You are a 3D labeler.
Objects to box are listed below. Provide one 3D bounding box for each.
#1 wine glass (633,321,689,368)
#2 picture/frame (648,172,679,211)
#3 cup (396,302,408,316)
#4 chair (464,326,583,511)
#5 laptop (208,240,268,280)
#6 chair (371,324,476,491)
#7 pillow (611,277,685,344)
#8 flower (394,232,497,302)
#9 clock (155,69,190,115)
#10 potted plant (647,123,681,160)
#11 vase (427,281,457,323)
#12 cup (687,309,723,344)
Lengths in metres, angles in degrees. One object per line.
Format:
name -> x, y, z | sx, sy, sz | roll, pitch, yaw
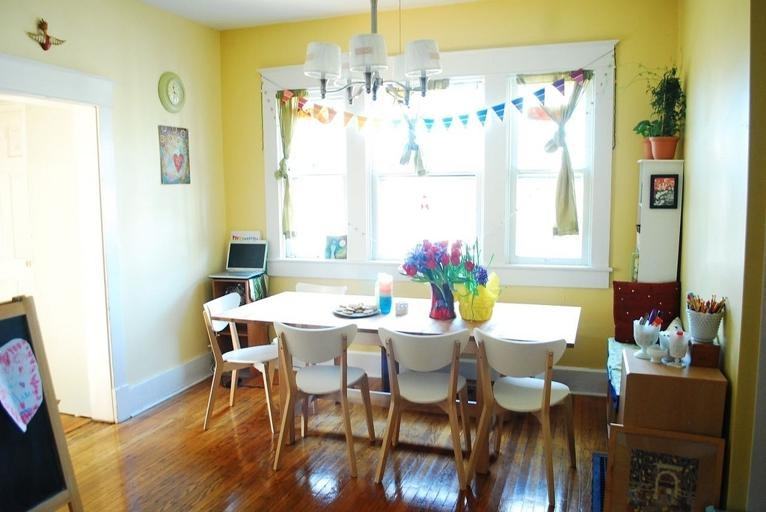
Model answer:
wine glass -> 1.621, 0.517, 3.215 | 0.188, 0.206, 0.291 | 1, 4, 8
picture/frame -> 2.031, -0.471, 3.957 | 0.273, 0.382, 0.029 | 1, 0, 13
cup -> 0.133, 0.373, 3.842 | 0.080, 0.078, 0.079 | 2, -1, 0
chair -> 0.924, 0.927, 3.545 | 0.629, 1.060, 0.759 | 2, 11, 23
laptop -> -1.265, -0.015, 5.004 | 0.418, 0.316, 0.370 | 0, 4, 9
chair -> 0.266, 0.912, 3.591 | 0.607, 1.008, 0.563 | -1, 10, 8
pillow -> 1.862, 0.377, 3.809 | 0.462, 0.476, 0.168 | 0, 5, 25
flower -> 0.433, 0.062, 3.728 | 0.487, 0.275, 0.363 | 0, 5, 16
clock -> -1.763, -1.368, 4.591 | 0.051, 0.328, 0.284 | 2, 10, 21
potted plant -> 2.024, -0.813, 3.954 | 0.229, 0.174, 0.226 | -5, 7, -44
vase -> 0.402, 0.306, 3.712 | 0.222, 0.297, 0.244 | 0, 3, -11
cup -> 1.807, 0.389, 3.110 | 0.182, 0.160, 0.185 | 0, 4, 0
